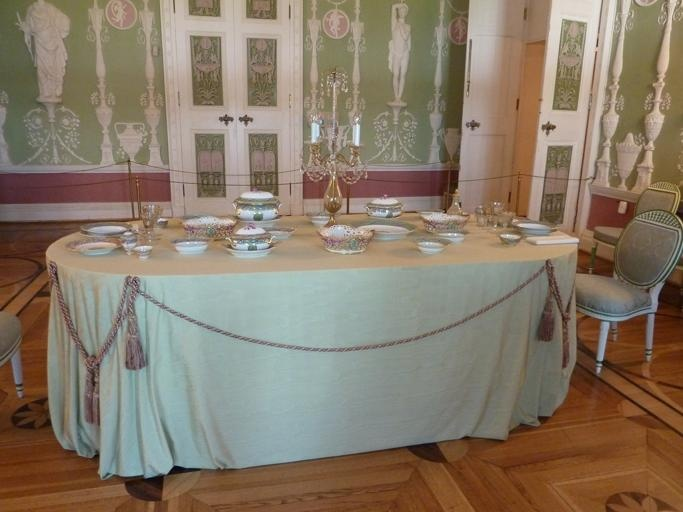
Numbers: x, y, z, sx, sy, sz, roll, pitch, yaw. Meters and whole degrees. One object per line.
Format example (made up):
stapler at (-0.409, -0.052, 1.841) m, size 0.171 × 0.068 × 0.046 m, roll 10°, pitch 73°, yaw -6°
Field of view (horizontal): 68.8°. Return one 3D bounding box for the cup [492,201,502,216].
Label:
cup at (1.056, -0.313, 3.327) m, size 0.075 × 0.080 × 0.070 m, roll 2°, pitch 12°, yaw 0°

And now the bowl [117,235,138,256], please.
bowl at (-1.079, -0.056, 2.544) m, size 0.098 × 0.104 × 0.097 m, roll 4°, pitch 5°, yaw 0°

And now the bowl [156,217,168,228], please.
bowl at (-1.103, -0.203, 3.067) m, size 0.062 × 0.037 × 0.062 m, roll 1°, pitch -1°, yaw 0°

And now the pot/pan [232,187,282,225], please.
pot/pan at (-0.497, -0.287, 2.996) m, size 0.242 × 0.141 × 0.199 m, roll 1°, pitch 15°, yaw -3°

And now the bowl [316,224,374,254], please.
bowl at (0.023, -0.086, 2.633) m, size 0.202 × 0.084 × 0.182 m, roll -3°, pitch 19°, yaw -16°

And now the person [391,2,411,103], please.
person at (0.794, -2.760, 6.753) m, size 0.206 × 1.282 × 0.275 m, roll 12°, pitch 23°, yaw 34°

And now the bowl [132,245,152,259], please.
bowl at (-0.989, -0.024, 2.492) m, size 0.081 × 0.039 × 0.083 m, roll 1°, pitch 5°, yaw 0°
